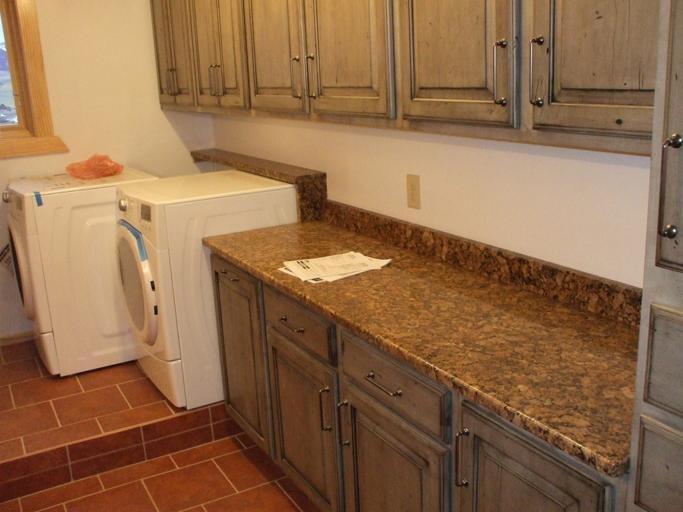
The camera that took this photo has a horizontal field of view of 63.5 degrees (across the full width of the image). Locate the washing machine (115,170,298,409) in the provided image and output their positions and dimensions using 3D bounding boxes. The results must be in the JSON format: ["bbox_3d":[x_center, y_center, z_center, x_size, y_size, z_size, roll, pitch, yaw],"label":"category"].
[{"bbox_3d":[-0.970,0.028,3.468,1.115,1.577,1.062,-8,21,-27],"label":"washing machine"}]
